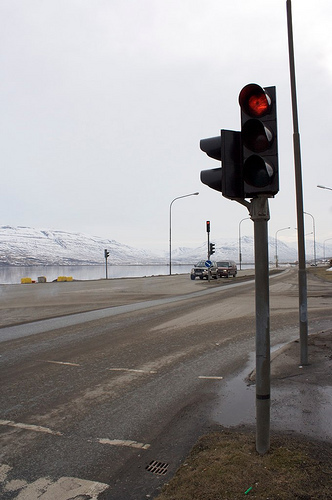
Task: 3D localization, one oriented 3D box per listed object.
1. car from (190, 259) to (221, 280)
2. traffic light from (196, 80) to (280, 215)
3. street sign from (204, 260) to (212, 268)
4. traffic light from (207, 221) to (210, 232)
[{"bbox_3d":[3.874,1.864,38.291,1.484,1.521,3.305,-4,-9,25],"label":"car"},{"bbox_3d":[0.621,-0.776,3.294,0.607,1.044,0.503,-6,-8,34],"label":"traffic light"},{"bbox_3d":[3.865,1.319,36.238,0.508,0.523,0.696,0,-8,6],"label":"street sign"},{"bbox_3d":[3.497,-1.919,33.286,0.094,0.776,0.382,-1,-2,-12],"label":"traffic light"}]
